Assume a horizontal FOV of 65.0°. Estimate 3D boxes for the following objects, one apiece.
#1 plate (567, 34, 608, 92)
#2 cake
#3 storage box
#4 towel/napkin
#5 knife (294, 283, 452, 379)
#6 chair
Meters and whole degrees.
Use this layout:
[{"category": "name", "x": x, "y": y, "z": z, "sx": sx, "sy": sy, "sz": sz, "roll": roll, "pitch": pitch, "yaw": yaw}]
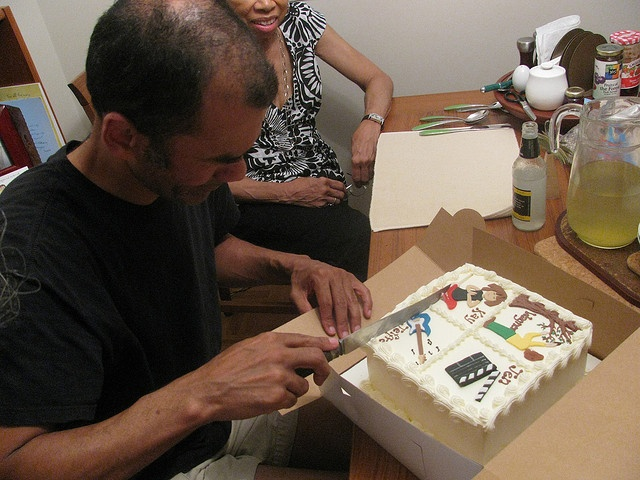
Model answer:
[{"category": "plate", "x": 0.960, "y": -0.629, "z": 1.805, "sx": 0.123, "sy": 0.211, "sz": 0.128, "roll": -15, "pitch": 39, "yaw": 11}, {"category": "cake", "x": 0.377, "y": 0.282, "z": 1.247, "sx": 0.416, "sy": 0.201, "sz": 0.404, "roll": -29, "pitch": 37, "yaw": -30}, {"category": "storage box", "x": 0.436, "y": 0.130, "z": 1.294, "sx": 0.657, "sy": 0.220, "sz": 0.607, "roll": -39, "pitch": 34, "yaw": -10}, {"category": "towel/napkin", "x": 0.412, "y": -0.214, "z": 1.728, "sx": 0.405, "sy": 0.110, "sz": 0.456, "roll": -4, "pitch": 45, "yaw": 11}, {"category": "knife", "x": 0.147, "y": 0.236, "z": 1.287, "sx": 0.427, "sy": 0.063, "sz": 0.036, "roll": -31, "pitch": 35, "yaw": -14}, {"category": "chair", "x": -0.390, "y": -0.108, "z": 1.143, "sx": 0.172, "sy": 0.501, "sz": 0.369, "roll": -25, "pitch": 27, "yaw": -5}]
